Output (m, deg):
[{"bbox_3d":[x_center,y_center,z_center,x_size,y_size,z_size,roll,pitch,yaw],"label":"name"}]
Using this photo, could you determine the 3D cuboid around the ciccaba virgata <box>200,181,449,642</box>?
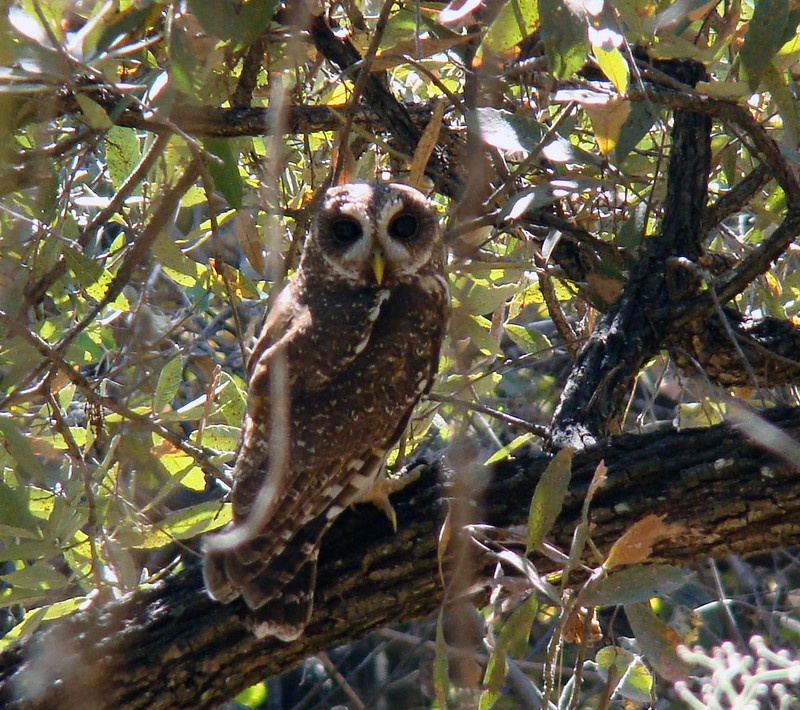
[{"bbox_3d":[-0.165,0.140,4.371,0.629,1.410,0.787,15,-47,-11],"label":"ciccaba virgata"}]
